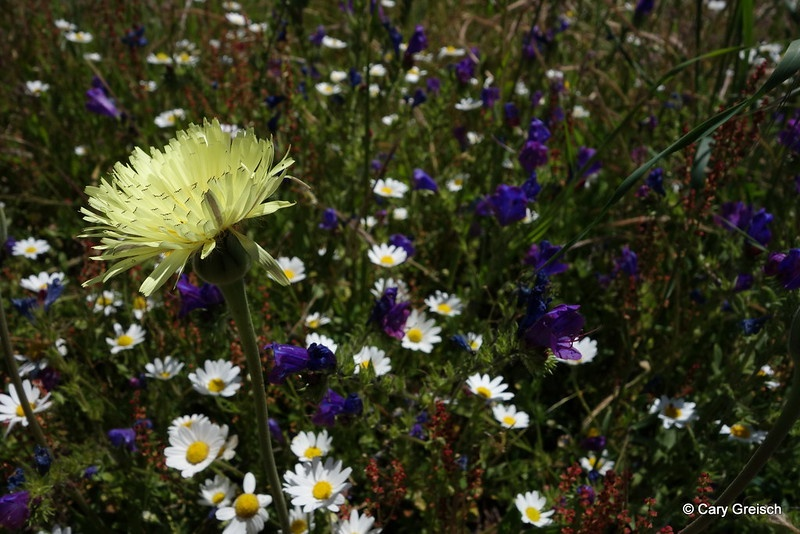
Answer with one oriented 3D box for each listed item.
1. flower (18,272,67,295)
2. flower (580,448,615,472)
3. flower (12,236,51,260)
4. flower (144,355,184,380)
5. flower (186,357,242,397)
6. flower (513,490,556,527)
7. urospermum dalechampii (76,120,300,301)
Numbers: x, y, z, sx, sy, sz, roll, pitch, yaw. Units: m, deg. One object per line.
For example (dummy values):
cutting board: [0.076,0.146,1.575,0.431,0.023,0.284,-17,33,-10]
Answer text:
flower: [-1.984,0.073,4.628,0.176,0.201,0.083,-7,94,-2]
flower: [0.985,0.979,4.235,0.115,0.050,0.126,4,26,23]
flower: [-2.144,-0.089,4.872,0.138,0.044,0.164,14,54,-3]
flower: [-1.165,0.488,4.147,0.125,0.059,0.143,-20,45,-14]
flower: [-0.885,0.503,4.072,0.206,0.244,0.110,-1,94,-13]
flower: [0.613,1.126,3.869,0.145,0.069,0.182,19,60,-7]
urospermum dalechampii: [-0.791,-0.272,3.566,0.772,0.888,0.406,-35,84,7]
